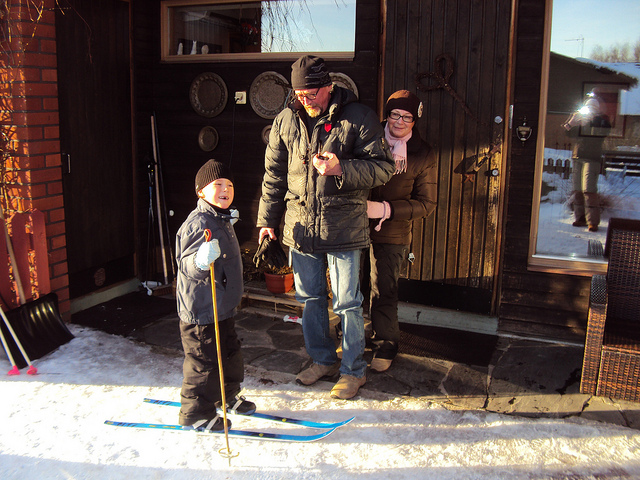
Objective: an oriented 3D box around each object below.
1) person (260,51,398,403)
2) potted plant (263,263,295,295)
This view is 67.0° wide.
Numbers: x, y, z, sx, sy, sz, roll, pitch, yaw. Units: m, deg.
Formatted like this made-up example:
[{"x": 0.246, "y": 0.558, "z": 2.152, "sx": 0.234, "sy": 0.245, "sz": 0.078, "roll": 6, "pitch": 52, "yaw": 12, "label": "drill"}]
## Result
[{"x": 0.000, "y": -0.088, "z": 3.685, "sx": 0.943, "sy": 2.457, "sz": 0.563, "roll": 11, "pitch": 17, "yaw": 32, "label": "person"}, {"x": -0.454, "y": 0.428, "z": 5.241, "sx": 0.364, "sy": 0.273, "sz": 0.373, "roll": 6, "pitch": 11, "yaw": 28, "label": "potted plant"}]
